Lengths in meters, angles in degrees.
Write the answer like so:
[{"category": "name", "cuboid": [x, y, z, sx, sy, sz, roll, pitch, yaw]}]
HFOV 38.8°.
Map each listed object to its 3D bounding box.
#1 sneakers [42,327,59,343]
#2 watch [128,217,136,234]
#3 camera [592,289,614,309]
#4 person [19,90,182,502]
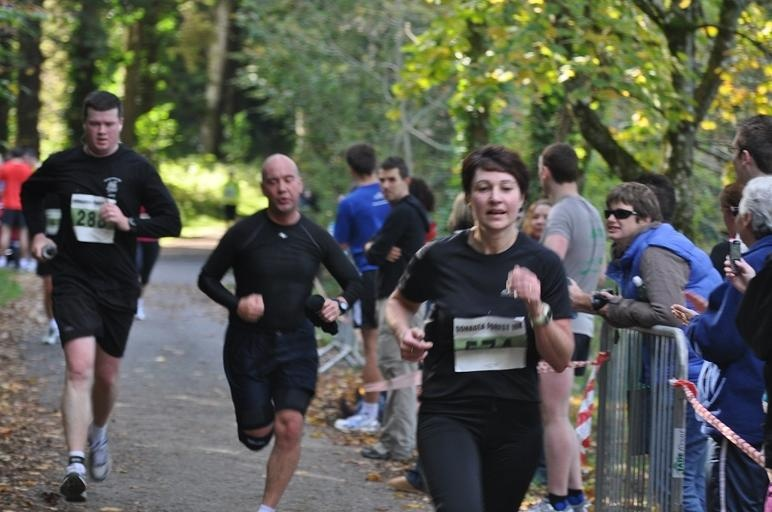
[{"category": "sneakers", "cuboid": [-4.199, 1.012, 13.889, 0.253, 0.226, 0.608, 0, -3, -7]}, {"category": "watch", "cuboid": [-2.241, -0.278, 9.685, 0.089, 0.097, 0.035, 4, -13, -37]}, {"category": "camera", "cuboid": [1.817, 0.390, 9.169, 0.176, 0.181, 0.155, 15, 14, 26]}, {"category": "person", "cuboid": [-2.542, 0.314, 9.716, 1.145, 3.447, 1.442, 3, 15, -29]}]
